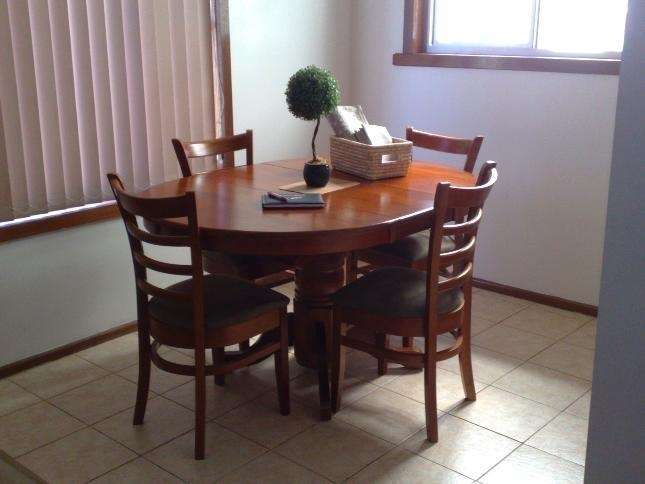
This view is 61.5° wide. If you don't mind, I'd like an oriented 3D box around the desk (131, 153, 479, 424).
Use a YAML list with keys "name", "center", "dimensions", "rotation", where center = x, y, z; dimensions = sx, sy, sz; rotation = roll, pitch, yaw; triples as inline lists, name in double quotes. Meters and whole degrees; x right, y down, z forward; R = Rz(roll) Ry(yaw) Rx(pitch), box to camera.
- name: "desk"
  center: [-0.088, -0.098, 2.358]
  dimensions: [1.126, 0.885, 1.460]
  rotation: [14, 22, 40]

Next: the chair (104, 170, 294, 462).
- name: "chair"
  center: [-0.491, 0.283, 2.216]
  dimensions: [0.702, 1.099, 0.577]
  rotation: [-3, 22, -3]

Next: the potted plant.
- name: "potted plant"
  center: [-0.032, -0.549, 2.576]
  dimensions: [0.287, 0.555, 0.280]
  rotation: [-3, 3, -10]

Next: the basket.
- name: "basket"
  center: [0.230, -0.411, 2.772]
  dimensions: [0.238, 0.159, 0.364]
  rotation: [-15, 25, -40]

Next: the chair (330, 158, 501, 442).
- name: "chair"
  center: [0.423, 0.206, 2.452]
  dimensions: [0.613, 1.101, 0.796]
  rotation: [11, 26, 28]
